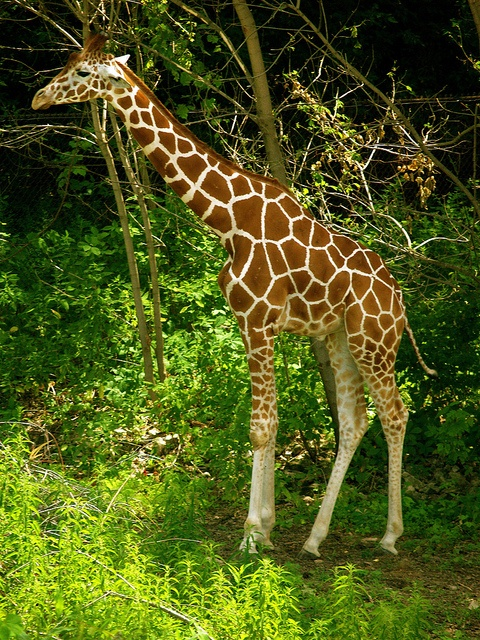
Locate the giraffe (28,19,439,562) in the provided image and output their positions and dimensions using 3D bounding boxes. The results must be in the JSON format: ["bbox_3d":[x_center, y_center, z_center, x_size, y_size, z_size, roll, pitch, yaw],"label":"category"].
[{"bbox_3d":[0.078,-0.119,3.909,2.272,2.720,0.865,13,24,17],"label":"giraffe"}]
